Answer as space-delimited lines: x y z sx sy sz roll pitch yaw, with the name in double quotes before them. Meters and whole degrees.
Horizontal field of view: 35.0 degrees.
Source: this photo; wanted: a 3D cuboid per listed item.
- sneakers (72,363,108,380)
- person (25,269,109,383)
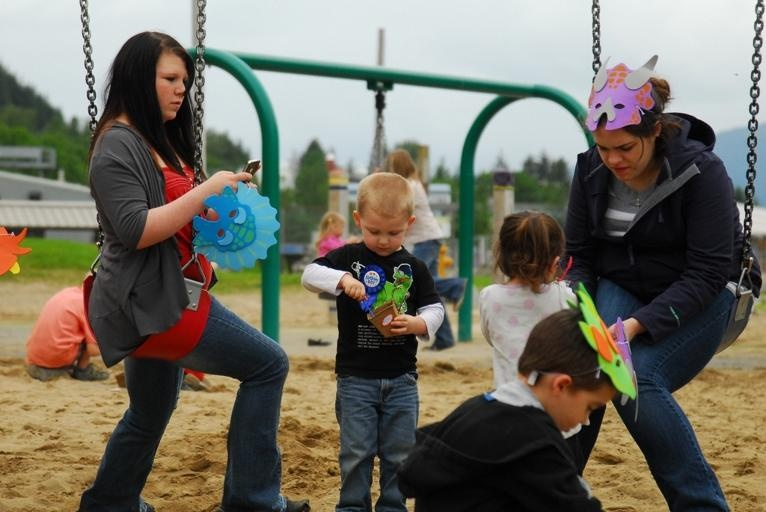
"sneakers" -2.337 0.921 9.656 0.275 0.135 0.115 1 4 -8
"person" -2.624 0.599 9.900 0.600 0.903 0.733 20 19 40
